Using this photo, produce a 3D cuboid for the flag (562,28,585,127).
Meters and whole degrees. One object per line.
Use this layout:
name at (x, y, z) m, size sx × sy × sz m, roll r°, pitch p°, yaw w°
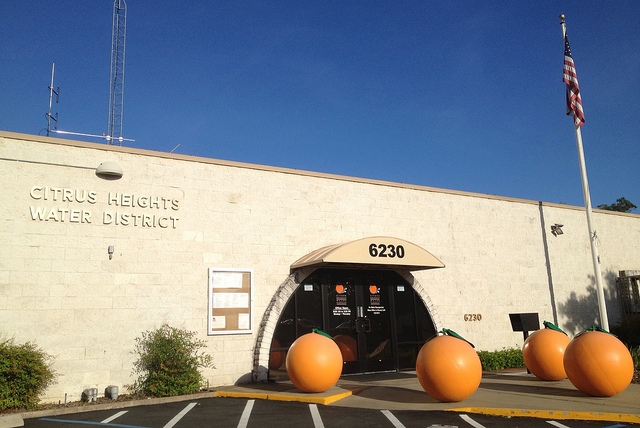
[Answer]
flag at (9.837, -5.212, 19.220) m, size 0.515 × 3.613 × 0.659 m, roll -9°, pitch -15°, yaw 29°
